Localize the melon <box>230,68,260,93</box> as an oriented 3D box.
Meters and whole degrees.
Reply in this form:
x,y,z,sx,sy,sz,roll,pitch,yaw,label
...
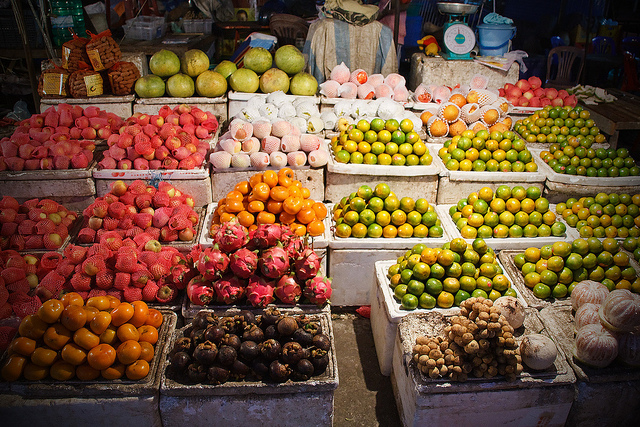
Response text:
x,y,z,sx,sy,sz,roll,pitch,yaw,label
-0.937,-1.627,5.358,0.297,0.228,0.304,-1,1,-1,melon

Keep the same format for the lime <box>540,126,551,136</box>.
x,y,z,sx,sy,sz,roll,pitch,yaw,label
2.562,-0.942,4.963,0.103,0.125,0.104,0,9,-9,lime

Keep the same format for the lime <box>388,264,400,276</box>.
x,y,z,sx,sy,sz,roll,pitch,yaw,label
0.646,0.487,3.850,0.091,0.112,0.092,-6,-30,41,lime

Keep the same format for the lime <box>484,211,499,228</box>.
x,y,z,sx,sy,sz,roll,pitch,yaw,label
1.578,0.051,4.037,0.128,0.156,0.127,1,-10,-14,lime

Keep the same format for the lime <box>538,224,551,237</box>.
x,y,z,sx,sy,sz,roll,pitch,yaw,label
2.046,0.155,4.037,0.105,0.102,0.126,-6,49,13,lime

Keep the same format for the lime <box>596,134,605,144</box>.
x,y,z,sx,sy,sz,roll,pitch,yaw,label
3.128,-0.836,4.882,0.090,0.087,0.112,15,28,29,lime

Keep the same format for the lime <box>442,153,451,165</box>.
x,y,z,sx,sy,sz,roll,pitch,yaw,label
1.315,-0.581,4.567,0.095,0.114,0.096,26,23,14,lime

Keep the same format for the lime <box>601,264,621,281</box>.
x,y,z,sx,sy,sz,roll,pitch,yaw,label
2.445,0.479,3.668,0.118,0.139,0.119,1,-11,-1,lime

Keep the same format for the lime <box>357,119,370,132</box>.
x,y,z,sx,sy,sz,roll,pitch,yaw,label
0.432,-0.897,4.477,0.112,0.131,0.113,-30,29,-17,lime

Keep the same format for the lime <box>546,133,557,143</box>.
x,y,z,sx,sy,sz,roll,pitch,yaw,label
2.597,-0.847,4.906,0.096,0.098,0.093,-7,-10,6,lime

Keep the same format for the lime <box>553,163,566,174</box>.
x,y,z,sx,sy,sz,roll,pitch,yaw,label
2.440,-0.466,4.438,0.128,0.084,0.068,-11,27,-24,lime

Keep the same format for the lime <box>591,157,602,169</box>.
x,y,z,sx,sy,sz,roll,pitch,yaw,label
2.822,-0.516,4.464,0.102,0.085,0.106,11,26,21,lime

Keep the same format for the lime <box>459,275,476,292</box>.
x,y,z,sx,sy,sz,roll,pitch,yaw,label
1.207,0.565,3.643,0.135,0.104,0.106,15,18,1,lime

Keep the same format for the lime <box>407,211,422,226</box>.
x,y,z,sx,sy,sz,roll,pitch,yaw,label
0.863,0.035,4.035,0.123,0.122,0.124,1,57,-1,lime

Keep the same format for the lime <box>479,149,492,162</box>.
x,y,z,sx,sy,sz,roll,pitch,yaw,label
1.662,-0.595,4.416,0.117,0.119,0.113,-7,-7,7,lime

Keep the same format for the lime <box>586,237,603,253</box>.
x,y,z,sx,sy,sz,roll,pitch,yaw,label
2.339,0.261,3.728,0.120,0.119,0.115,3,-13,2,lime

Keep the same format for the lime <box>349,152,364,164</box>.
x,y,z,sx,sy,sz,roll,pitch,yaw,label
0.357,-0.554,4.331,0.113,0.113,0.106,4,12,19,lime

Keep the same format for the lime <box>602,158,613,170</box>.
x,y,z,sx,sy,sz,roll,pitch,yaw,label
2.915,-0.512,4.439,0.078,0.084,0.104,0,13,14,lime

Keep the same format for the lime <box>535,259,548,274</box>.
x,y,z,sx,sy,sz,roll,pitch,yaw,label
1.874,0.442,3.707,0.095,0.115,0.096,4,-19,-2,lime

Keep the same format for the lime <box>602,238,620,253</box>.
x,y,z,sx,sy,sz,roll,pitch,yaw,label
2.507,0.266,3.774,0.124,0.126,0.115,-6,7,-9,lime

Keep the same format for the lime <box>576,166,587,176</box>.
x,y,z,sx,sy,sz,roll,pitch,yaw,label
2.643,-0.436,4.426,0.080,0.095,0.082,-6,-11,18,lime

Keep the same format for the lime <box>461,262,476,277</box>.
x,y,z,sx,sy,sz,roll,pitch,yaw,label
1.219,0.453,3.607,0.103,0.124,0.104,0,8,1,lime

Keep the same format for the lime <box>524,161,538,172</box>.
x,y,z,sx,sy,sz,roll,pitch,yaw,label
2.141,-0.473,4.453,0.099,0.101,0.095,5,-21,2,lime

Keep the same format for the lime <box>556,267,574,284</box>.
x,y,z,sx,sy,sz,roll,pitch,yaw,label
2.044,0.504,3.672,0.118,0.139,0.120,6,14,41,lime

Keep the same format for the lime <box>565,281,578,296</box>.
x,y,z,sx,sy,sz,roll,pitch,yaw,label
2.094,0.618,3.656,0.094,0.113,0.095,9,-14,2,lime

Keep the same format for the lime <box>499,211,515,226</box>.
x,y,z,sx,sy,sz,roll,pitch,yaw,label
1.713,0.041,4.060,0.126,0.121,0.125,2,58,0,lime

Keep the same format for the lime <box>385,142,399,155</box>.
x,y,z,sx,sy,sz,roll,pitch,yaw,label
0.704,-0.648,4.349,0.120,0.122,0.115,5,-18,-6,lime

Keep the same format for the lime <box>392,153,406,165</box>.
x,y,z,sx,sy,sz,roll,pitch,yaw,label
0.780,-0.544,4.370,0.110,0.112,0.113,-11,11,-43,lime

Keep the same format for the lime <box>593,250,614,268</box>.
x,y,z,sx,sy,sz,roll,pitch,yaw,label
2.397,0.378,3.686,0.130,0.154,0.131,-4,4,2,lime

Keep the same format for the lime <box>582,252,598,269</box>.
x,y,z,sx,sy,sz,roll,pitch,yaw,label
2.280,0.393,3.694,0.127,0.125,0.104,12,27,24,lime

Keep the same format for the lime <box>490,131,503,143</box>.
x,y,z,sx,sy,sz,roll,pitch,yaw,label
1.819,-0.801,4.502,0.101,0.119,0.103,3,9,21,lime

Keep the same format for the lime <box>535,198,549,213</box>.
x,y,z,sx,sy,sz,roll,pitch,yaw,label
2.070,-0.081,4.084,0.129,0.114,0.100,5,25,9,lime

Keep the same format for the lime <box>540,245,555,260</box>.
x,y,z,sx,sy,sz,roll,pitch,yaw,label
1.942,0.322,3.756,0.104,0.105,0.100,8,27,-12,lime

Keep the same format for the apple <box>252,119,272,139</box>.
x,y,z,sx,sy,sz,roll,pitch,yaw,label
-0.583,-0.842,4.371,0.181,0.177,0.161,5,25,9,apple

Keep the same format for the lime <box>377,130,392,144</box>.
x,y,z,sx,sy,sz,roll,pitch,yaw,label
0.645,-0.767,4.433,0.127,0.129,0.125,3,-14,-7,lime

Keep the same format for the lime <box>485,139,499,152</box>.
x,y,z,sx,sy,sz,roll,pitch,yaw,label
1.750,-0.699,4.458,0.118,0.117,0.115,-11,-17,26,lime

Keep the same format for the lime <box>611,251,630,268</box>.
x,y,z,sx,sy,sz,roll,pitch,yaw,label
2.525,0.365,3.688,0.121,0.145,0.122,-3,13,-45,lime

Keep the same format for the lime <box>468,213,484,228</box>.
x,y,z,sx,sy,sz,roll,pitch,yaw,label
1.454,0.057,4.082,0.140,0.116,0.087,9,26,17,lime

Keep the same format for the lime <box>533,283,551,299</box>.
x,y,z,sx,sy,sz,roll,pitch,yaw,label
1.837,0.644,3.670,0.119,0.125,0.118,-22,-32,34,lime

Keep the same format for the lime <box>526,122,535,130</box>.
x,y,z,sx,sy,sz,roll,pitch,yaw,label
2.426,-1.026,5.080,0.082,0.100,0.083,0,8,-7,lime

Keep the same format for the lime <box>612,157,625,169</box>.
x,y,z,sx,sy,sz,roll,pitch,yaw,label
3.022,-0.518,4.443,0.096,0.115,0.096,7,20,14,lime

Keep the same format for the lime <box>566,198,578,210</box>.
x,y,z,sx,sy,sz,roll,pitch,yaw,label
2.441,-0.113,4.267,0.095,0.097,0.116,6,49,14,lime

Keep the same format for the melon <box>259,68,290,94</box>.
x,y,z,sx,sy,sz,roll,pitch,yaw,label
-0.556,-1.626,5.380,0.318,0.295,0.316,-9,18,-9,melon

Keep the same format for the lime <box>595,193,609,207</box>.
x,y,z,sx,sy,sz,roll,pitch,yaw,label
2.644,-0.140,4.095,0.108,0.126,0.107,-18,13,-28,lime

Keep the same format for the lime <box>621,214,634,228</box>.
x,y,z,sx,sy,sz,roll,pitch,yaw,label
2.831,0.063,4.022,0.090,0.100,0.102,-22,9,24,lime

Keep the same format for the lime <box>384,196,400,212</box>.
x,y,z,sx,sy,sz,roll,pitch,yaw,label
0.657,-0.096,4.019,0.129,0.152,0.130,-12,0,-2,lime
